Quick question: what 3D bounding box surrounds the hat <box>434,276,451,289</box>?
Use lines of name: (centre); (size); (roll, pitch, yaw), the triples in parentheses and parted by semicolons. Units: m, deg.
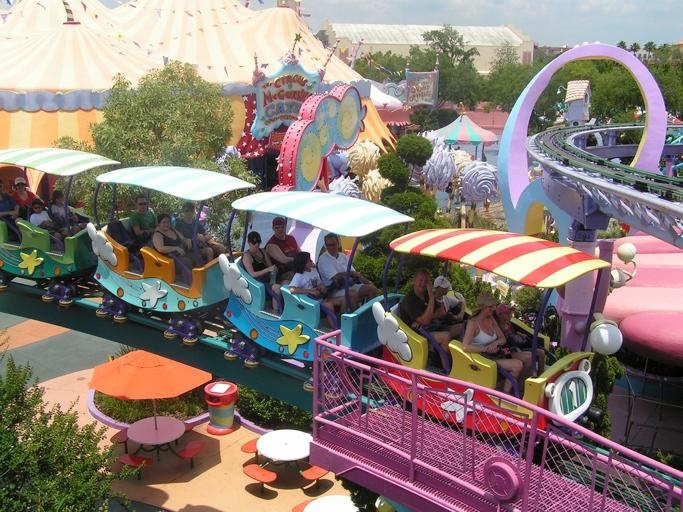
hat: (1.714, 0.443, 12.298); (0.231, 0.128, 0.173); (-18, 29, -25)

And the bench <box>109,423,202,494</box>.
bench: (-4.090, 4.517, 16.830); (2.036, 0.771, 2.411); (-4, 21, -2)

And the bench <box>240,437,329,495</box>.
bench: (-1.334, 4.598, 16.450); (1.543, 0.441, 1.504); (14, 21, 35)

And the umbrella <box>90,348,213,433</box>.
umbrella: (-4.673, 3.141, 17.407); (2.438, 1.806, 2.444); (15, 16, 23)
